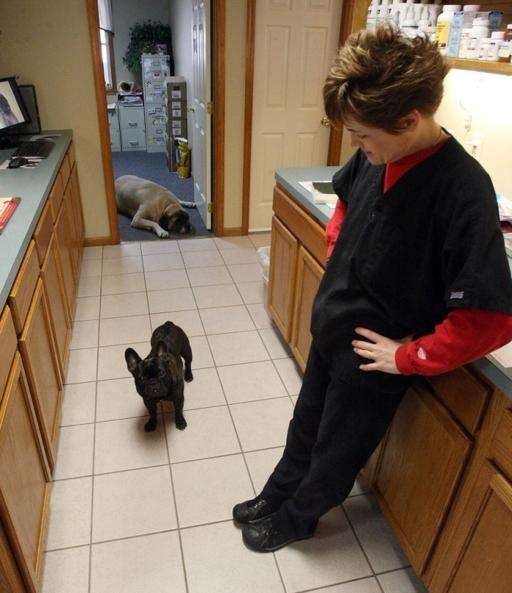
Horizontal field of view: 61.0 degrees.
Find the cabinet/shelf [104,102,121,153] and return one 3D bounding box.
[{"bbox_3d":[-2.150,-2.596,6.648,0.160,0.686,0.298,-6,30,-15],"label":"cabinet/shelf"}]

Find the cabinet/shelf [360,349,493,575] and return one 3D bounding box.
[{"bbox_3d":[0.566,0.491,1.269,0.326,0.470,0.376,-17,34,-40],"label":"cabinet/shelf"}]

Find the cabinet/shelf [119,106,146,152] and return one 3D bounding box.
[{"bbox_3d":[-1.894,-2.579,6.645,0.430,0.771,0.505,-2,36,-7],"label":"cabinet/shelf"}]

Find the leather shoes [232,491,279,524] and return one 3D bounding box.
[{"bbox_3d":[-0.011,0.767,1.591,0.186,0.078,0.076,-8,33,-14],"label":"leather shoes"}]

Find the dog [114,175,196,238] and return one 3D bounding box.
[{"bbox_3d":[-1.026,-0.883,4.226,0.819,0.304,0.550,32,53,29],"label":"dog"}]

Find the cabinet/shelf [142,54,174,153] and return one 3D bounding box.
[{"bbox_3d":[-1.507,-2.945,6.635,0.378,1.346,0.321,-7,33,-19],"label":"cabinet/shelf"}]

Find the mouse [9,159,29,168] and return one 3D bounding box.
[{"bbox_3d":[-1.354,-0.771,2.490,0.102,0.040,0.114,-6,32,-15],"label":"mouse"}]

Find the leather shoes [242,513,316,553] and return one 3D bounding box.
[{"bbox_3d":[0.056,0.800,1.532,0.296,0.125,0.115,-4,44,-6],"label":"leather shoes"}]
